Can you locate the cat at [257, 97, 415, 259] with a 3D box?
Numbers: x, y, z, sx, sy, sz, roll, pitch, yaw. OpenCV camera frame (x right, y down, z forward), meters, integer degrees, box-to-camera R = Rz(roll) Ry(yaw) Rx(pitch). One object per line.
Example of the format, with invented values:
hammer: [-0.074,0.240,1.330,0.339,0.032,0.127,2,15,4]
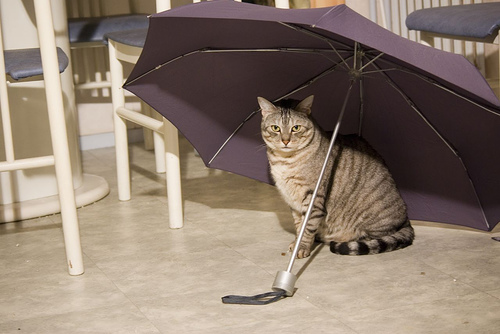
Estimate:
cat: [0.175,0.012,1.871,0.692,0.651,0.434,-8,10,-5]
